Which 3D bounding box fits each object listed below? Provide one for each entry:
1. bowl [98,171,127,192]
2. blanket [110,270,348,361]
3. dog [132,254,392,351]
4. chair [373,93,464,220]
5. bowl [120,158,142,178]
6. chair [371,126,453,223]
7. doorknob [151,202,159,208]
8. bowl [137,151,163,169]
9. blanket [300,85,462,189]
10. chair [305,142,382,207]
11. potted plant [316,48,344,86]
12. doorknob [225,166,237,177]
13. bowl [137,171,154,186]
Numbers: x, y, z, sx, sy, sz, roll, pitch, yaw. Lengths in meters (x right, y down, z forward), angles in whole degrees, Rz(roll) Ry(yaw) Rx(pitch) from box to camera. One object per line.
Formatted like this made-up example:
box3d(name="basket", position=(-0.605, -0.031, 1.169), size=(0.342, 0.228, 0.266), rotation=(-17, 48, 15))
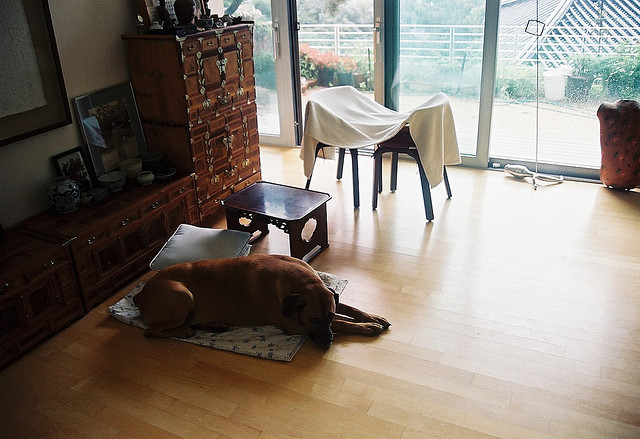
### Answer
box3d(name="bowl", position=(-1.652, -0.317, 3.614), size=(0.167, 0.094, 0.170), rotation=(-3, 25, 1))
box3d(name="blanket", position=(-0.661, 0.575, 3.323), size=(1.621, 0.179, 0.883), rotation=(6, 26, 11))
box3d(name="dog", position=(-0.529, 0.514, 3.156), size=(1.941, 0.621, 0.651), rotation=(2, 33, 2))
box3d(name="chair", position=(0.959, -0.581, 4.329), size=(0.828, 1.094, 0.835), rotation=(12, 36, 25))
box3d(name="bowl", position=(-1.575, -0.448, 3.761), size=(0.167, 0.139, 0.170), rotation=(0, 22, 0))
box3d(name="chair", position=(0.856, -0.622, 4.334), size=(0.619, 0.979, 0.606), rotation=(7, 21, 24))
box3d(name="doorknob", position=(-1.320, -0.125, 3.601), size=(0.048, 0.049, 0.017), rotation=(-1, 3, -23))
box3d(name="bowl", position=(-1.470, -0.521, 3.911), size=(0.210, 0.109, 0.207), rotation=(0, 26, 0))
box3d(name="blanket", position=(0.603, -0.809, 4.591), size=(1.518, 0.917, 1.327), rotation=(9, 26, 23))
box3d(name="chair", position=(0.285, -0.564, 4.582), size=(0.683, 0.654, 0.664), rotation=(6, 29, 11))
box3d(name="potted plant", position=(0.106, -1.862, 5.475), size=(0.386, 0.430, 0.325), rotation=(4, 36, 9))
box3d(name="doorknob", position=(-0.856, -0.473, 4.299), size=(0.016, 0.053, 0.100), rotation=(8, 31, 25))
box3d(name="bowl", position=(-1.423, -0.352, 3.710), size=(0.109, 0.071, 0.111), rotation=(1, 31, 0))
